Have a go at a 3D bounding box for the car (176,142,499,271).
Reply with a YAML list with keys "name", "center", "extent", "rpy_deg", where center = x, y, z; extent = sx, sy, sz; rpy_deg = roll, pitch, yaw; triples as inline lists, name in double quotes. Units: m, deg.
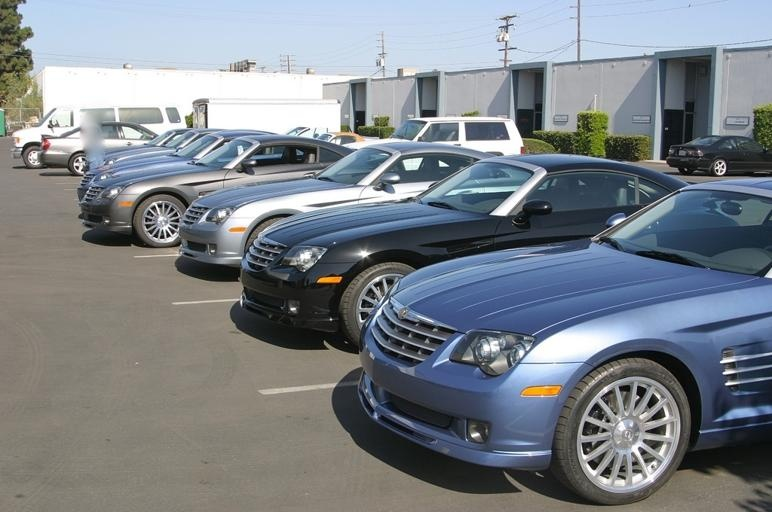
- name: "car"
  center: [-0.943, -0.887, 9.507]
  extent: [5.194, 1.239, 2.088]
  rpy_deg: [-2, 7, -17]
